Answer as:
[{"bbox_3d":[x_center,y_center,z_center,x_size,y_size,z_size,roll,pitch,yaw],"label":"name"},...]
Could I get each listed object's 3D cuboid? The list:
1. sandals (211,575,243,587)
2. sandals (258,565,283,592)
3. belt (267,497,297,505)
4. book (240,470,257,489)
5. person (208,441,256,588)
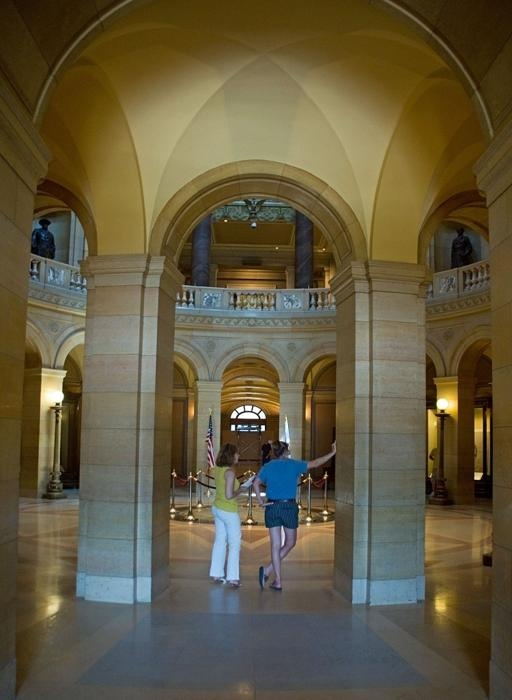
[{"bbox_3d":[-0.354,2.680,6.387,0.371,0.160,0.125,-1,-3,7],"label":"sandals"},{"bbox_3d":[0.118,2.569,6.214,0.142,0.164,0.418,6,8,-26],"label":"sandals"},{"bbox_3d":[0.263,1.663,6.088,0.261,0.070,0.119,2,-9,-4],"label":"belt"},{"bbox_3d":[-0.090,1.500,6.413,0.155,0.173,0.435,-6,-6,-17],"label":"book"},{"bbox_3d":[-0.298,1.892,6.364,0.414,1.590,0.724,2,-9,-3],"label":"person"}]
